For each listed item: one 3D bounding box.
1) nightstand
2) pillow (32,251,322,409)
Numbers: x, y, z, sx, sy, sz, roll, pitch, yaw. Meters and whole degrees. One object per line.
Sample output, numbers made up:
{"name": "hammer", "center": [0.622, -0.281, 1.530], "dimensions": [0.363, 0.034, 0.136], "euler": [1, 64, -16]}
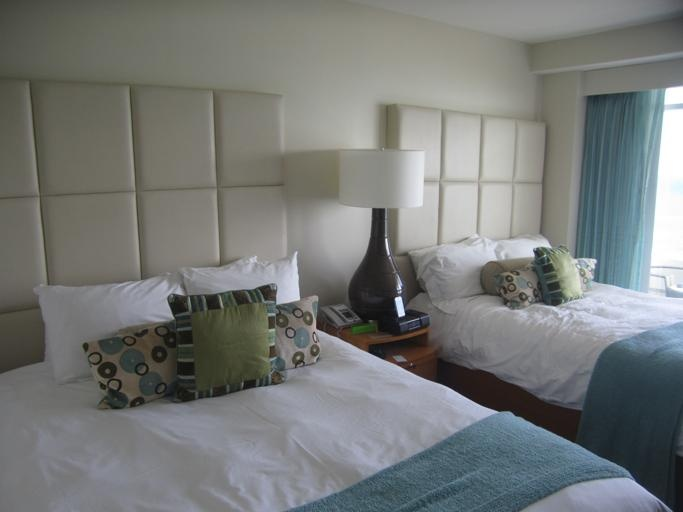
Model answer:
{"name": "nightstand", "center": [0.272, 0.549, 3.514], "dimensions": [0.517, 0.578, 0.588], "euler": [-6, 11, -36]}
{"name": "pillow", "center": [-0.846, 0.391, 2.635], "dimensions": [1.471, 0.535, 0.712], "euler": [-3, 9, -11]}
